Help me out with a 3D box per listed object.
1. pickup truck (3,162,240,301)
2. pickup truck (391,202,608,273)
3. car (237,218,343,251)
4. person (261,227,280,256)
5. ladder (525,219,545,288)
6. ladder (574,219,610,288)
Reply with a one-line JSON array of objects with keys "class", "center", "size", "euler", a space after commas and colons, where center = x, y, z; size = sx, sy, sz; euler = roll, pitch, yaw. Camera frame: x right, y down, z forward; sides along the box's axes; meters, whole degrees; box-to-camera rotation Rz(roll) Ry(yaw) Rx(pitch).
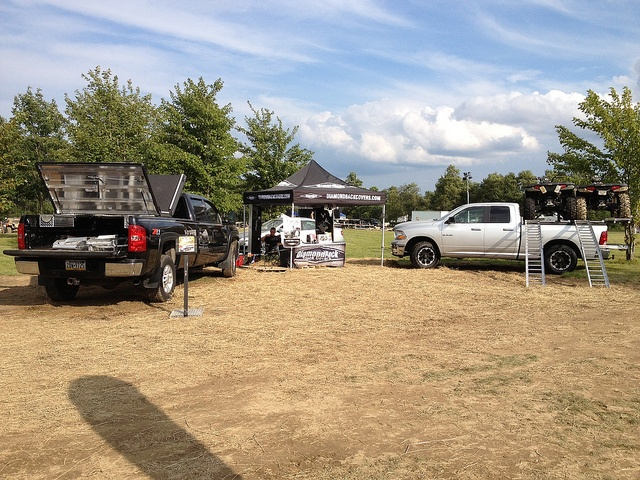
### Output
[{"class": "pickup truck", "center": [-3.854, -0.169, 11.386], "size": [2.794, 2.126, 4.741], "euler": [1, 3, 19]}, {"class": "pickup truck", "center": [5.873, -0.105, 16.711], "size": [6.815, 2.070, 2.602], "euler": [2, 0, 13]}, {"class": "car", "center": [-0.992, -0.105, 19.632], "size": [3.845, 1.211, 1.632], "euler": [2, -1, -14]}, {"class": "person", "center": [-1.571, 0.049, 17.144], "size": [0.404, 0.939, 1.134], "euler": [-1, 7, -21]}, {"class": "ladder", "center": [6.532, 0.313, 15.464], "size": [0.518, 2.086, 0.465], "euler": [-4, 35, 21]}, {"class": "ladder", "center": [7.836, 0.374, 14.626], "size": [0.533, 0.205, 2.740], "euler": [3, 40, 14]}]
